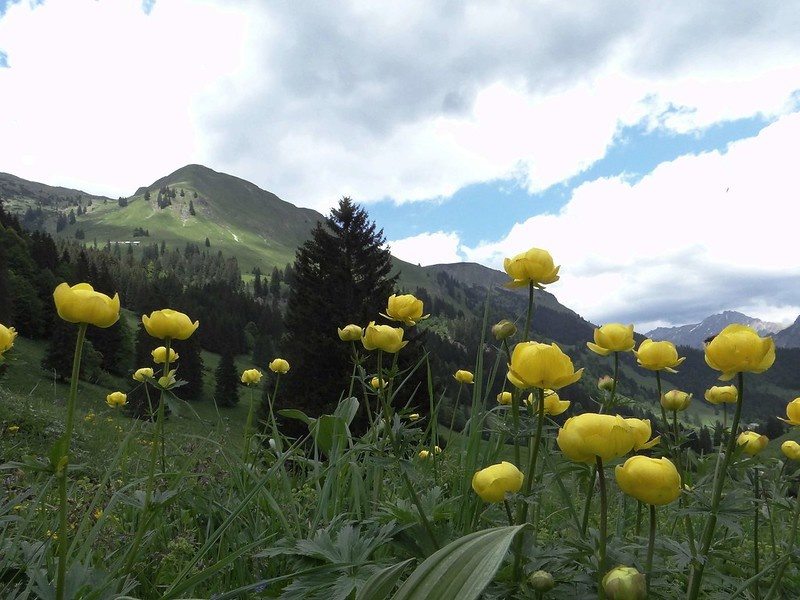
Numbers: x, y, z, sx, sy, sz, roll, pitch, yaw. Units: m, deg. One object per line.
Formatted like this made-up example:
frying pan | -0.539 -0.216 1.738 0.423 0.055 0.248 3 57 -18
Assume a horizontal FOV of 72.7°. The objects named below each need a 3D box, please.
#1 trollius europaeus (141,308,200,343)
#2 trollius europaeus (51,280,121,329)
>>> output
trollius europaeus | -1.280 0.149 3.014 0.248 0.168 0.233 21 20 26
trollius europaeus | -1.513 0.049 2.653 0.222 0.183 0.275 12 2 28
